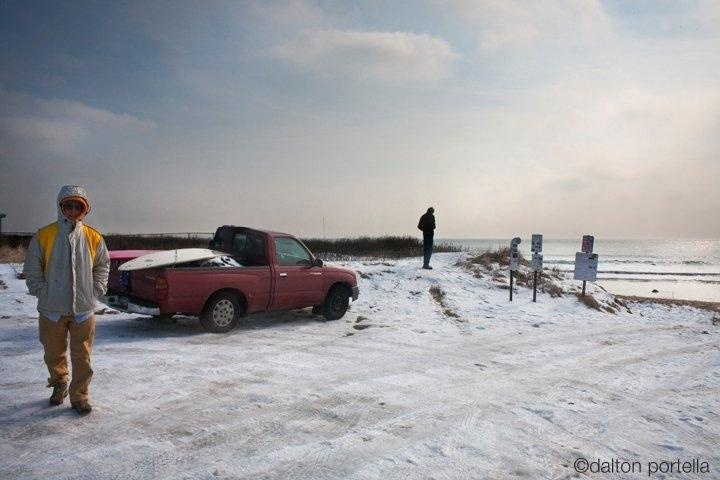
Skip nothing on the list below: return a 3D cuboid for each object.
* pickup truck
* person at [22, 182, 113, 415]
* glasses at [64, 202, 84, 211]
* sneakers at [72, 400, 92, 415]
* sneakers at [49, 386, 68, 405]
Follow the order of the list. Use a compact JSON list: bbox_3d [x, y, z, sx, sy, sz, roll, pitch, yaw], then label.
[{"bbox_3d":[-3.018,0.927,11.981,4.781,1.959,2.559,0,1,-43],"label":"pickup truck"},{"bbox_3d":[-4.227,0.816,7.117,0.920,3.146,0.700,3,8,1],"label":"person"},{"bbox_3d":[-4.061,-0.472,7.007,0.148,0.081,0.128,5,-3,3],"label":"glasses"},{"bbox_3d":[-3.944,2.346,7.045,0.374,0.184,0.132,3,4,23],"label":"sneakers"},{"bbox_3d":[-4.390,2.235,7.146,0.151,0.182,0.389,3,-7,-20],"label":"sneakers"}]
